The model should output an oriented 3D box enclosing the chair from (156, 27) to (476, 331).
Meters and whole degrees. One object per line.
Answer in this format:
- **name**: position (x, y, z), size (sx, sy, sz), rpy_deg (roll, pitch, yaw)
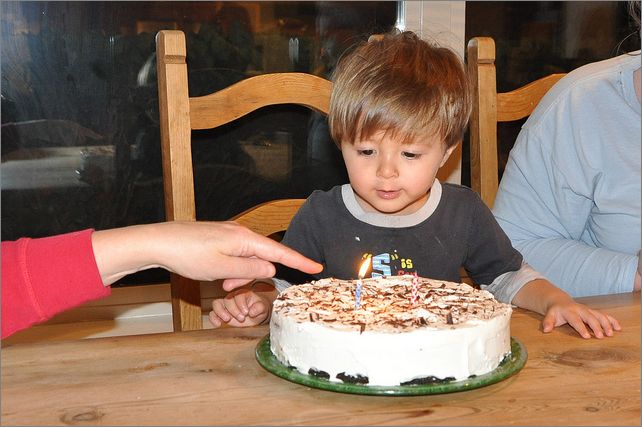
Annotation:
- **chair**: position (0.076, -0.312, 2.735), size (1.070, 1.773, 1.012), rpy_deg (-11, 17, -31)
